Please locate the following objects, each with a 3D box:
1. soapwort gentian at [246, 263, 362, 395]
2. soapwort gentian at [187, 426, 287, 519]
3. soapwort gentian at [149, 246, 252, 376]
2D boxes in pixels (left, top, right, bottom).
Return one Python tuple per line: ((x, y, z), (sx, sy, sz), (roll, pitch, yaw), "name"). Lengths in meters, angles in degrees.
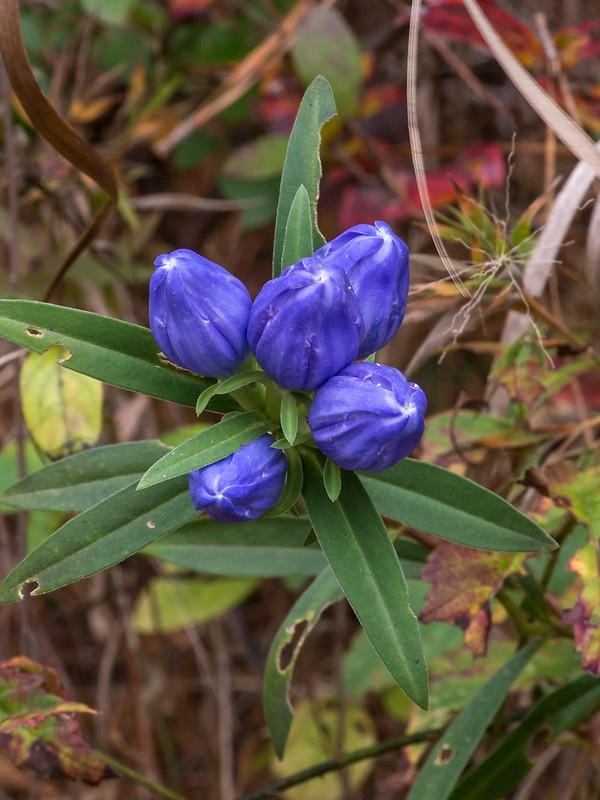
((-0.008, -0.124, 1.180), (0.193, 0.220, 0.159), (7, 55, -4), "soapwort gentian")
((-0.082, 0.104, 1.159), (0.111, 0.106, 0.143), (1, 5, 29), "soapwort gentian")
((-0.144, -0.121, 1.191), (0.149, 0.196, 0.095), (-20, 39, 0), "soapwort gentian")
